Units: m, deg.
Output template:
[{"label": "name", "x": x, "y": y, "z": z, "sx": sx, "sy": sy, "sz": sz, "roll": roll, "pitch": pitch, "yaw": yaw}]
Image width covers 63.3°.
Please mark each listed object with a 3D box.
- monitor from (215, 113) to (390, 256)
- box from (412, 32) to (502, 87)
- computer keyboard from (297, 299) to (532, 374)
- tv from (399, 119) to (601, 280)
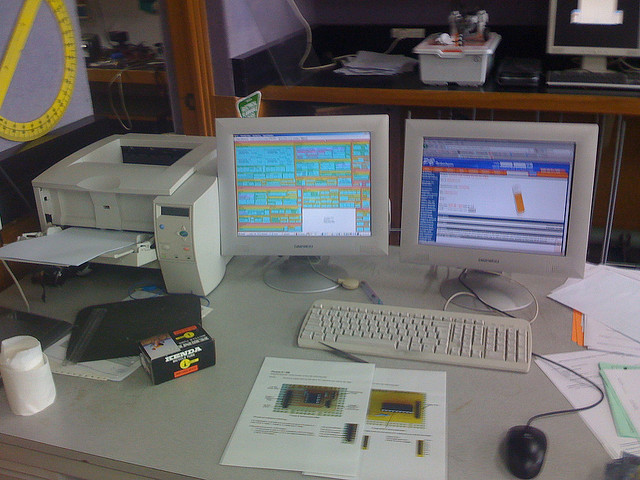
[{"label": "monitor", "x": -0.044, "y": -0.163, "z": 1.622, "sx": 0.528, "sy": 0.376, "sz": 0.156, "roll": 0, "pitch": 14, "yaw": 4}, {"label": "box", "x": 0.702, "y": -0.948, "z": 2.759, "sx": 0.336, "sy": 0.151, "sz": 0.403, "roll": 6, "pitch": 35, "yaw": 17}, {"label": "computer keyboard", "x": 0.275, "y": 0.303, "z": 1.485, "sx": 0.632, "sy": 0.059, "sz": 0.193, "roll": 5, "pitch": 37, "yaw": 10}, {"label": "tv", "x": 0.523, "y": -0.105, "z": 1.528, "sx": 0.587, "sy": 0.433, "sz": 0.176, "roll": 4, "pitch": 17, "yaw": 11}]
